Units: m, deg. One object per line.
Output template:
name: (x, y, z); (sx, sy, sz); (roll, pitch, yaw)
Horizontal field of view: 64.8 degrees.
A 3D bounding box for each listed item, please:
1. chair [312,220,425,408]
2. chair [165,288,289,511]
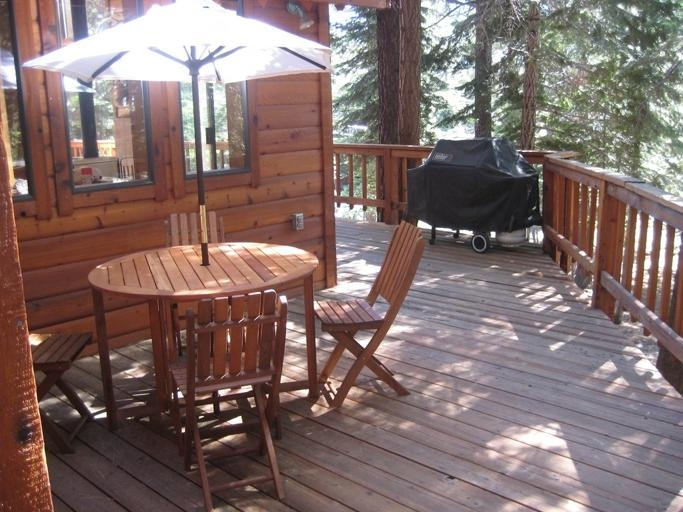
chair: (0.169, 0.422, 4.015); (0.860, 1.217, 0.775); (1, 9, 9)
chair: (-0.664, 0.694, 3.176); (0.672, 1.195, 1.067); (-9, 19, -20)
